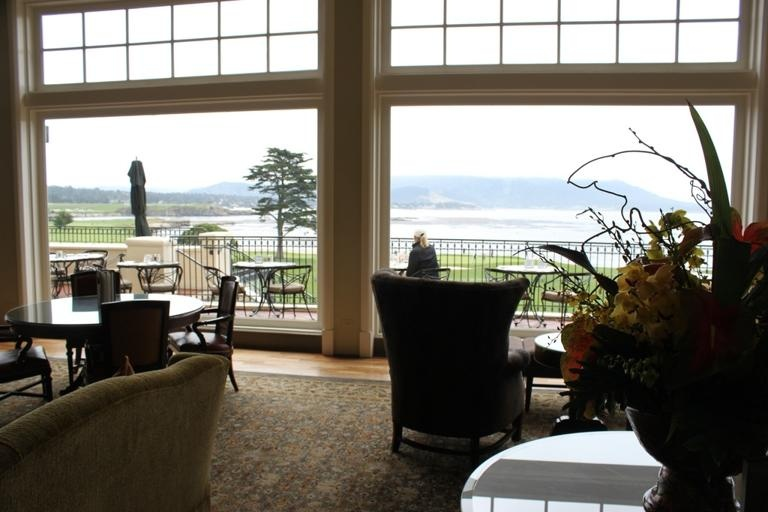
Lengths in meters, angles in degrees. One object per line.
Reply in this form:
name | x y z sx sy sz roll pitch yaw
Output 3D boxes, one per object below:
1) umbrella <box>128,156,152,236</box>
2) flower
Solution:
umbrella | -3.582 -0.856 8.473 0.234 1.126 0.320 -4 12 -22
flower | 0.900 0.072 2.403 0.983 1.233 1.105 1 -3 -15
